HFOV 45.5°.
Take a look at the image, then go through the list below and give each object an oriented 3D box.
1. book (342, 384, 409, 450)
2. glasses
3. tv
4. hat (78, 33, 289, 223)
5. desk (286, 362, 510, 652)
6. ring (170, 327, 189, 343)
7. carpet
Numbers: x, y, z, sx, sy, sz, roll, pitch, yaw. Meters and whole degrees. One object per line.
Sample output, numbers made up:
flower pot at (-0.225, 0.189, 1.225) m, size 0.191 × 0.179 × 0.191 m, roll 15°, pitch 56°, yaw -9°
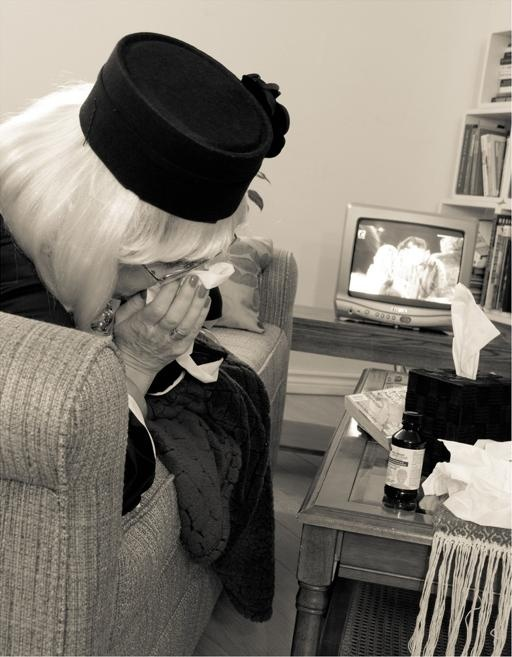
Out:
book at (0.264, 0.192, 1.327) m, size 0.124 × 0.035 × 0.126 m, roll -10°, pitch 25°, yaw -28°
glasses at (-0.092, -0.094, 0.899) m, size 0.108 × 0.044 × 0.080 m, roll -9°, pitch -2°, yaw 37°
tv at (0.548, -0.233, 2.492) m, size 0.581 × 0.447 × 0.317 m, roll 5°, pitch 2°, yaw -9°
hat at (-0.062, -0.246, 0.752) m, size 0.216 × 0.148 × 0.105 m, roll 21°, pitch -29°, yaw -21°
desk at (0.224, 0.397, 1.138) m, size 0.271 × 0.306 × 0.771 m, roll 4°, pitch 21°, yaw 7°
ring at (-0.122, 0.009, 0.947) m, size 0.020 × 0.024 × 0.032 m, roll -2°, pitch -10°, yaw 7°
carpet at (0.235, 0.469, 0.993) m, size 0.189 × 0.061 × 0.262 m, roll 13°, pitch -4°, yaw -16°
